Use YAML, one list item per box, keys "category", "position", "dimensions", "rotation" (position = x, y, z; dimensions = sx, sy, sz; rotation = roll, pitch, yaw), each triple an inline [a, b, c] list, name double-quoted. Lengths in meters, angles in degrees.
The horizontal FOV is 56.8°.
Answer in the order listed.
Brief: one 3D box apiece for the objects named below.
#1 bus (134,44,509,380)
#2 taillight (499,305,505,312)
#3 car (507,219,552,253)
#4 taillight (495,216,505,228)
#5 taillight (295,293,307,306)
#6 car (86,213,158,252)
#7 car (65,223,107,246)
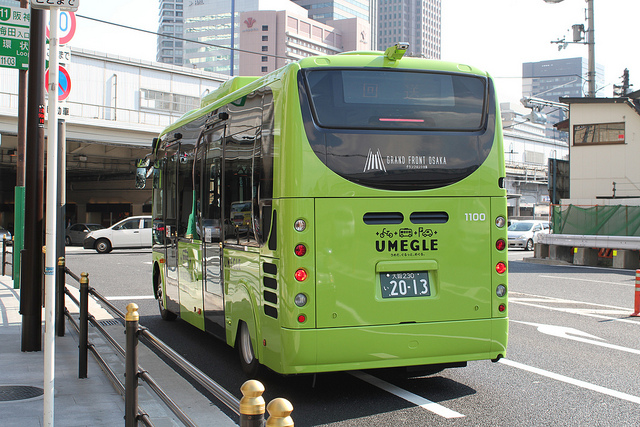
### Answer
- category: "bus"
  position: [-0.225, 0.052, 8.775]
  dimensions: [5.247, 4.681, 2.524]
  rotation: [2, 2, 41]
- category: "taillight"
  position: [2.459, 1.294, 7.999]
  dimensions: [0.063, 0.066, 0.038]
  rotation: [-23, 6, -16]
- category: "car"
  position: [12.623, 1.435, 35.962]
  dimensions: [1.892, 1.522, 3.251]
  rotation: [-4, -5, 40]
- category: "taillight"
  position: [2.446, 0.122, 8.046]
  dimensions: [0.126, 0.133, 0.038]
  rotation: [-20, 12, -7]
- category: "taillight"
  position: [-0.251, 1.082, 7.391]
  dimensions: [0.134, 0.139, 0.137]
  rotation: [-25, -43, 20]
- category: "car"
  position: [-10.756, 1.082, 32.056]
  dimensions: [3.271, 1.647, 1.855]
  rotation: [2, -2, -10]
- category: "car"
  position: [-14.012, 1.335, 35.141]
  dimensions: [2.972, 1.339, 1.584]
  rotation: [-2, 3, 8]
